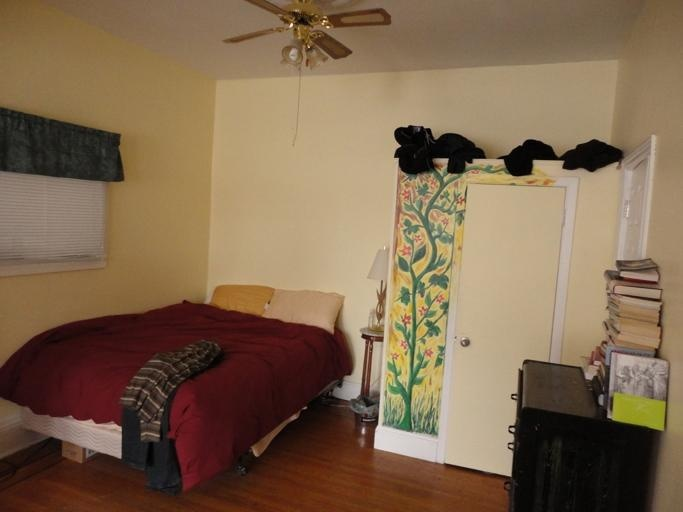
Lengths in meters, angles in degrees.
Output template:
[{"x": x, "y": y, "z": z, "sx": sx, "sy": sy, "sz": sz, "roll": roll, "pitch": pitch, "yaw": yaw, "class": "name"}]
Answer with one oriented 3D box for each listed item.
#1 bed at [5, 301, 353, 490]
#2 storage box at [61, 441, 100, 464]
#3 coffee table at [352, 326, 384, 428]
[{"x": -1.270, "y": 0.921, "z": 4.594, "sx": 1.989, "sy": 0.705, "sz": 2.105, "roll": 8, "pitch": 13, "yaw": 23, "class": "bed"}, {"x": -2.015, "y": 1.480, "z": 4.056, "sx": 0.173, "sy": 0.114, "sz": 0.183, "roll": 8, "pitch": 3, "yaw": 21, "class": "storage box"}, {"x": 0.255, "y": 1.077, "z": 4.936, "sx": 0.213, "sy": 0.832, "sz": 0.379, "roll": 3, "pitch": 12, "yaw": 2, "class": "coffee table"}]
